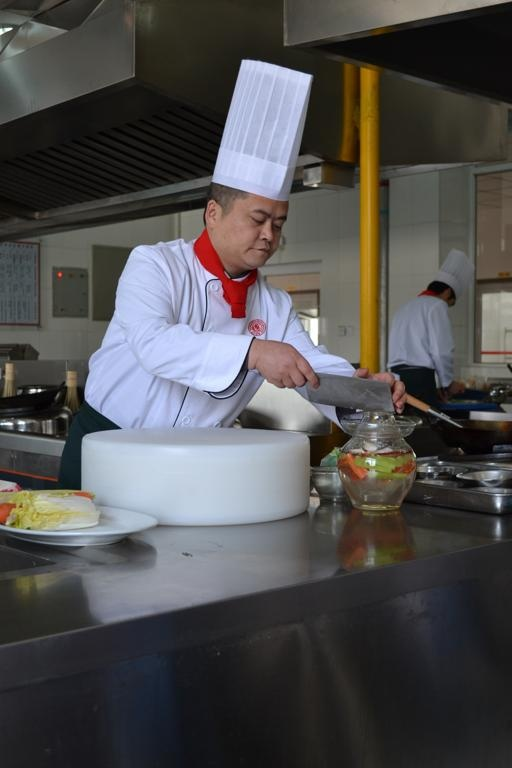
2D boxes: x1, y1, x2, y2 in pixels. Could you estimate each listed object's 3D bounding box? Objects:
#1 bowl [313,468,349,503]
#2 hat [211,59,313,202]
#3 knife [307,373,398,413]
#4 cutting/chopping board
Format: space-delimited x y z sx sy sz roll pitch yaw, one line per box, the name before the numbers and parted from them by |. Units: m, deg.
bowl | 0.109 0.152 0.944 0.053 0.043 0.054 -2 -4 0
hat | 0.008 -0.419 1.043 0.148 0.230 0.080 3 5 -5
knife | 0.141 0.010 0.930 0.176 0.045 0.046 5 13 37
cutting/chopping board | -0.078 0.114 0.823 0.245 0.102 0.234 7 6 41
